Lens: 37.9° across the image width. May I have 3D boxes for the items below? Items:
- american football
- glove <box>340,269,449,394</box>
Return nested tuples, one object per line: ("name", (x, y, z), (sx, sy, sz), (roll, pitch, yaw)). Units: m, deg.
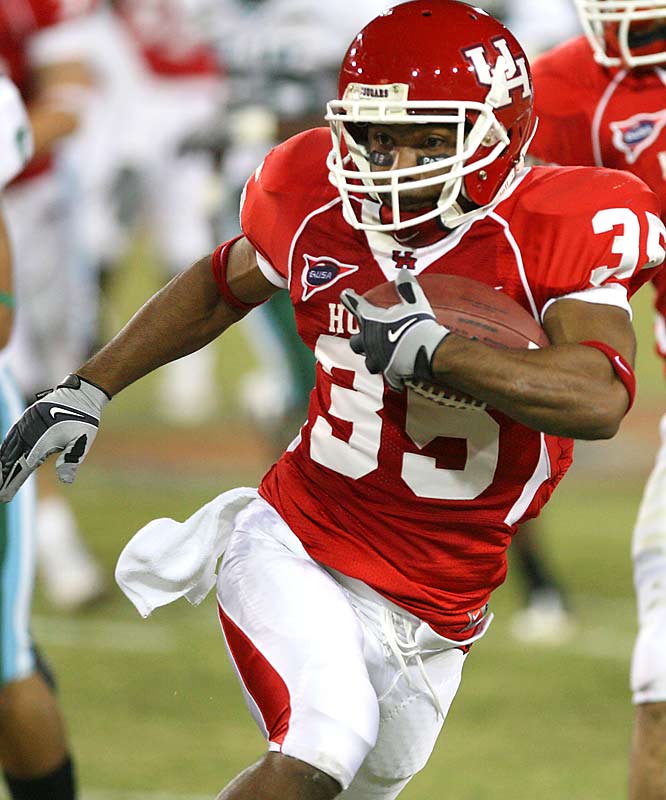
("american football", (0.171, -0.086, 1.387), (0.271, 0.129, 0.158), (19, 5, -13))
("glove", (0.090, -0.095, 1.326), (0.102, 0.158, 0.184), (-3, 13, -18))
